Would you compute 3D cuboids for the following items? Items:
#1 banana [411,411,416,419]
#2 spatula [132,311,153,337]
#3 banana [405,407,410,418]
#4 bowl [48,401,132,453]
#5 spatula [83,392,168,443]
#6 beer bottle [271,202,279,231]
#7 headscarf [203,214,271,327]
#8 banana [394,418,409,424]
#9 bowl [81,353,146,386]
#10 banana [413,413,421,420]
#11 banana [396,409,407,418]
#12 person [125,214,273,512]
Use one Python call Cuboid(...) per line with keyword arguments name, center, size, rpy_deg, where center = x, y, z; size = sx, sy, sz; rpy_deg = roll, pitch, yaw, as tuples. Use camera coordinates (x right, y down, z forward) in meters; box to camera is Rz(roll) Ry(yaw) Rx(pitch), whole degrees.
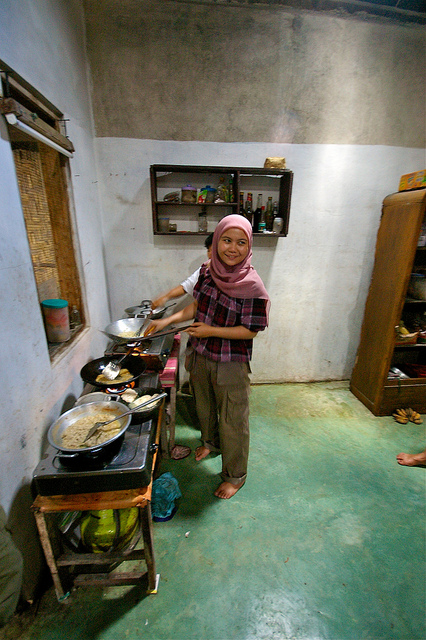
Cuboid(name="banana", center=(1.604, 0.754, 3.352), size=(0.021, 0.019, 0.073), rpy_deg=(11, 40, 39))
Cuboid(name="spatula", center=(-0.418, 0.030, 2.572), size=(0.046, 0.032, 0.219), rpy_deg=(-2, 47, 55))
Cuboid(name="banana", center=(1.562, 0.733, 3.370), size=(0.019, 0.021, 0.072), rpy_deg=(13, 17, 10))
Cuboid(name="bowl", center=(-0.522, 0.446, 1.779), size=(0.338, 0.069, 0.393), rpy_deg=(-2, 24, 10))
Cuboid(name="spatula", center=(-0.414, 0.439, 1.908), size=(0.470, 0.069, 0.085), rpy_deg=(-30, 5, -24))
Cuboid(name="beer bottle", center=(0.496, -0.821, 3.343), size=(0.054, 0.203, 0.142), rpy_deg=(3, 17, 8))
Cuboid(name="headscarf", center=(0.130, -0.284, 2.348), size=(0.390, 0.579, 0.260), rpy_deg=(5, 18, 13))
Cuboid(name="banana", center=(1.488, 0.794, 3.295), size=(0.036, 0.011, 0.048), rpy_deg=(-42, 37, -15))
Cuboid(name="bowl", center=(-0.522, 0.240, 2.192), size=(0.320, 0.080, 0.351), rpy_deg=(1, 16, 0))
Cuboid(name="banana", center=(1.629, 0.770, 3.345), size=(0.039, 0.015, 0.050), rpy_deg=(0, 15, 41))
Cuboid(name="banana", center=(1.501, 0.746, 3.357), size=(0.020, 0.022, 0.086), rpy_deg=(10, 27, 2))
Cuboid(name="person", center=(-0.038, 0.261, 2.502), size=(0.677, 1.679, 0.629), rpy_deg=(21, 30, 37))
